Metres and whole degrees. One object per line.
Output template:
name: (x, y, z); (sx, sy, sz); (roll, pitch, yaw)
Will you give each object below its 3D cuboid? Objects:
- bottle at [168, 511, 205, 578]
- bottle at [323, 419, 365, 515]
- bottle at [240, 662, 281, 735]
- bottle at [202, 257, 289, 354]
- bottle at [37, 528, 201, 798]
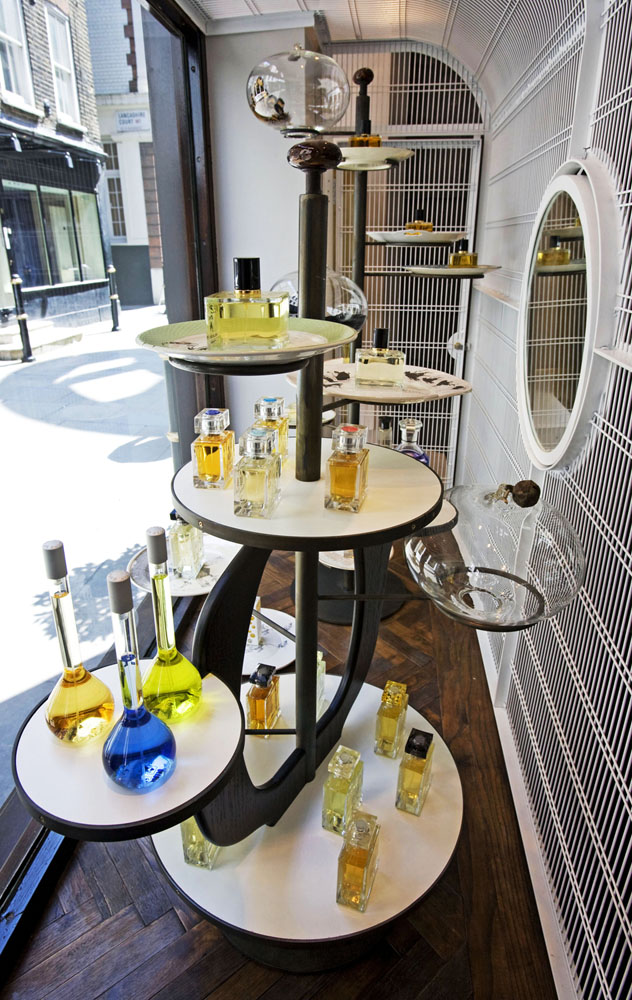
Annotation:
bottle: (-0.305, 0.122, 1.476); (0.082, 0.082, 0.221); (11, 44, -26)
bottle: (0.040, -0.042, 0.824); (0.052, 0.105, 0.051); (2, 30, -1)
bottle: (-0.137, 0.505, 1.580); (0.048, 0.145, 0.086); (7, 19, 14)
bottle: (-0.072, -0.206, 0.665); (0.085, 0.093, 0.092); (3, 18, 12)
bottle: (-0.204, 0.136, 0.643); (0.164, 0.252, 0.193); (-2, 14, -11)
